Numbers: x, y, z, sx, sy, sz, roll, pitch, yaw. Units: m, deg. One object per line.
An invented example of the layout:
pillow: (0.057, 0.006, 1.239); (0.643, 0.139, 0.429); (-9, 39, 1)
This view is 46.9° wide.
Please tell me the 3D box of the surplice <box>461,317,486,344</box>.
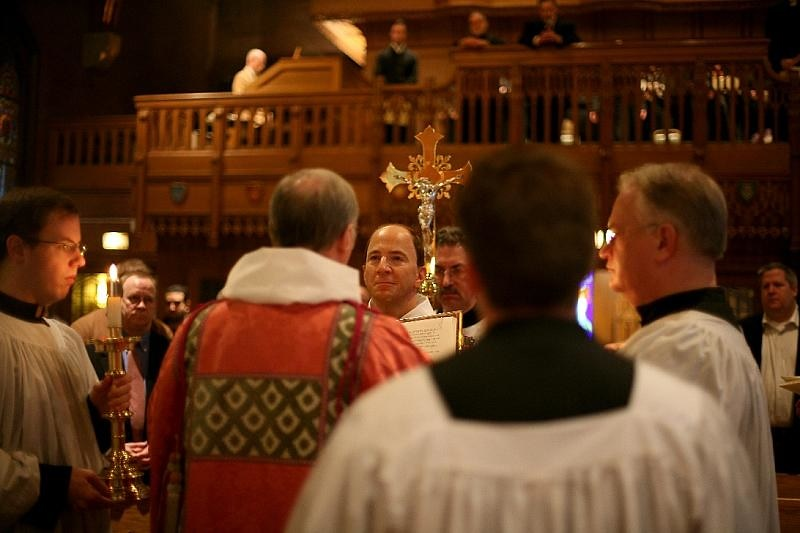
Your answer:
surplice: (0.466, 0.400, 5.748); (0.184, 0.140, 0.154); (-3, -5, 35)

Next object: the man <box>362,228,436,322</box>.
man: (-0.043, 0.076, 5.802); (0.448, 0.671, 0.454); (-4, -12, 39)

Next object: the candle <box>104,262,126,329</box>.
candle: (-1.501, 0.174, 4.842); (0.088, 0.328, 0.360); (-10, 10, -16)
